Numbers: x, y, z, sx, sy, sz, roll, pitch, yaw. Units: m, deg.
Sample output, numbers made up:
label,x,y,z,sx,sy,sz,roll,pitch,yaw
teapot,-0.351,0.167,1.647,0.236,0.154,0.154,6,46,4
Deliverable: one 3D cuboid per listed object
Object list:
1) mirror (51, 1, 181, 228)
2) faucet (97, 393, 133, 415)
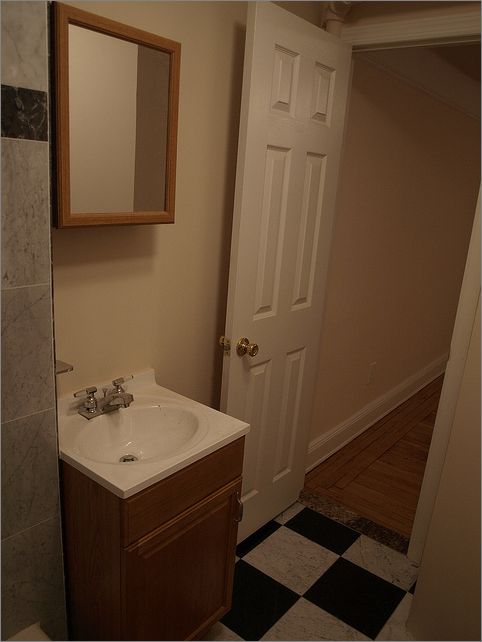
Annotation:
label,x,y,z,sx,sy,sz,roll,pitch,yaw
mirror,-0.333,-0.542,1.277,0.033,0.623,0.490,11,19,25
faucet,-0.382,0.239,1.475,0.069,0.030,0.059,-15,55,-27
